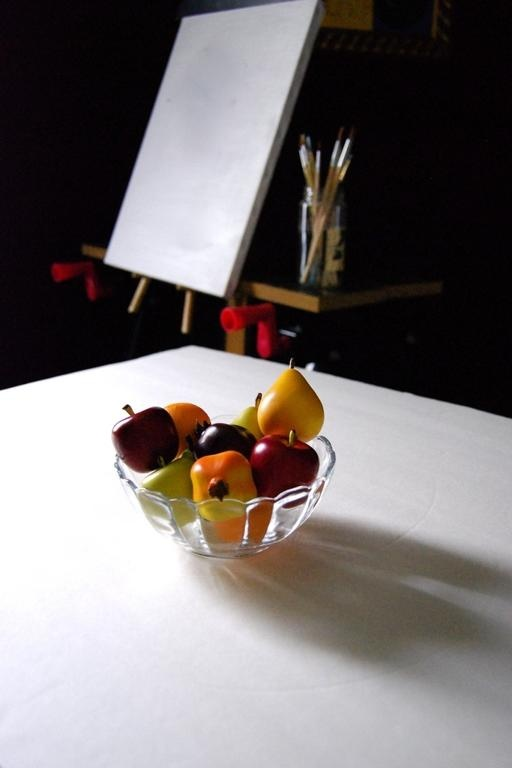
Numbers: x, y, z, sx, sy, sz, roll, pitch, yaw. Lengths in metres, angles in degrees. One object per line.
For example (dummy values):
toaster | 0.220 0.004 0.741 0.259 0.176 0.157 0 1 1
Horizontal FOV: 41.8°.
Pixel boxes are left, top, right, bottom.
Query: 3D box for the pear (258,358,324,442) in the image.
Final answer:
pear | 0.032 0.014 0.642 0.046 0.073 0.041 21 22 40

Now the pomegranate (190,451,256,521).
pomegranate | -0.025 0.087 0.518 0.054 0.053 0.060 9 55 -17

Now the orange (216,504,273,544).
orange | -0.004 0.109 0.510 0.034 0.031 0.039 -1 -25 -4

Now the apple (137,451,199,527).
apple | -0.069 0.081 0.529 0.037 0.043 0.044 -8 18 -37

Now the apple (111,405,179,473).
apple | -0.098 0.051 0.587 0.061 0.056 0.058 -25 9 -19

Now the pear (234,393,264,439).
pear | -0.007 0.034 0.691 0.019 0.023 0.046 -20 23 22

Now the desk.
desk | 0.062 -0.168 1.394 0.651 0.220 0.322 8 19 34
